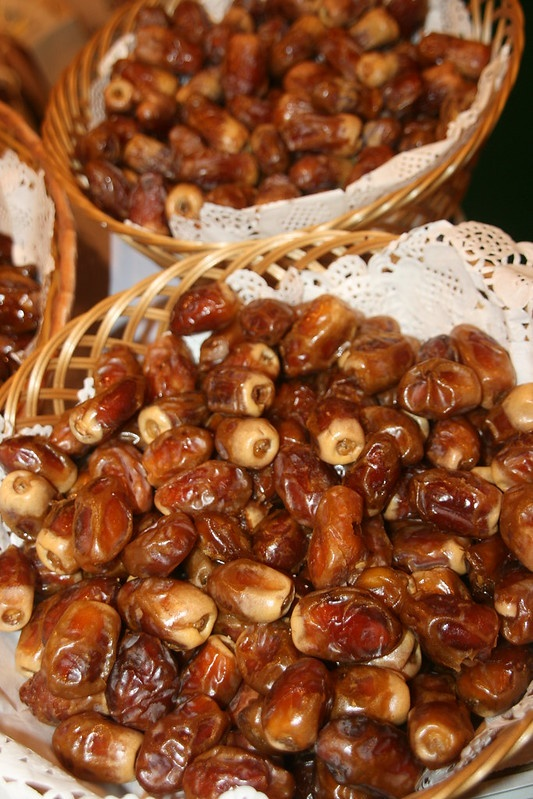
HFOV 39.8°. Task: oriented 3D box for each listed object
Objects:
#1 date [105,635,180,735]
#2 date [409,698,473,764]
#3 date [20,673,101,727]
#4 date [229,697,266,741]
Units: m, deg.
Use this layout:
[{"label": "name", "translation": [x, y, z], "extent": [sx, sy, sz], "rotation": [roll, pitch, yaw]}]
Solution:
[{"label": "date", "translation": [-0.215, 0.503, 1.348], "extent": [0.130, 0.095, 0.163], "rotation": [7, 78, 18]}, {"label": "date", "translation": [0.287, 0.533, 1.191], "extent": [0.094, 0.062, 0.097], "rotation": [9, 81, 8]}, {"label": "date", "translation": [-0.397, 0.570, 1.427], "extent": [0.162, 0.056, 0.083], "rotation": [5, 84, 29]}, {"label": "date", "translation": [-0.029, 0.563, 1.292], "extent": [0.061, 0.076, 0.043], "rotation": [17, 24, 8]}]
